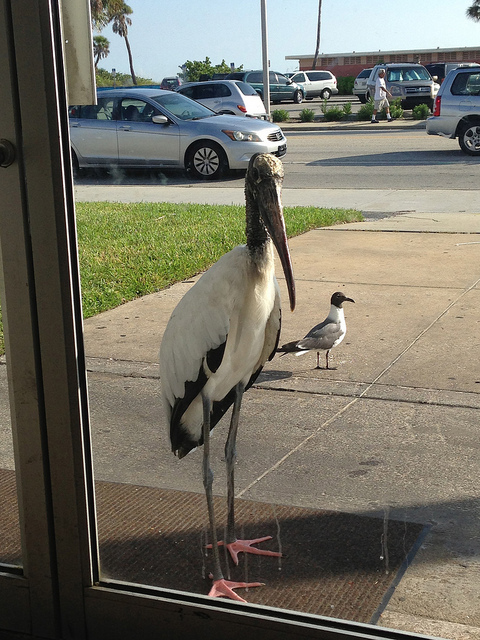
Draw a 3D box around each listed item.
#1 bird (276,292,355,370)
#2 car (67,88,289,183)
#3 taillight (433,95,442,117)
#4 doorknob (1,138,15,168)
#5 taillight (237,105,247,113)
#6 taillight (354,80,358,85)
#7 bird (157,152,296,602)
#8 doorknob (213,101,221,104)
[{"bbox_3d":[0.488,0.083,5.205,0.482,0.460,0.505,-5,16,-32],"label":"bird"},{"bbox_3d":[-1.844,-2.809,13.603,4.534,1.292,1.866,0,16,3],"label":"car"},{"bbox_3d":[3.680,-3.985,16.709,0.346,0.290,0.246,3,-7,6],"label":"taillight"},{"bbox_3d":[-0.610,-0.437,2.351,0.037,0.071,0.027,-4,13,-9],"label":"doorknob"},{"bbox_3d":[0.065,-4.661,19.745,0.119,0.170,0.241,-12,16,-39],"label":"taillight"},{"bbox_3d":[4.150,-8.496,31.972,0.100,0.161,0.182,-3,12,-6],"label":"taillight"},{"bbox_3d":[-0.040,0.189,2.831,0.459,1.271,0.643,2,-6,-34],"label":"bird"},{"bbox_3d":[-0.507,-4.934,20.299,0.071,0.063,0.203,-8,13,-26],"label":"doorknob"}]
